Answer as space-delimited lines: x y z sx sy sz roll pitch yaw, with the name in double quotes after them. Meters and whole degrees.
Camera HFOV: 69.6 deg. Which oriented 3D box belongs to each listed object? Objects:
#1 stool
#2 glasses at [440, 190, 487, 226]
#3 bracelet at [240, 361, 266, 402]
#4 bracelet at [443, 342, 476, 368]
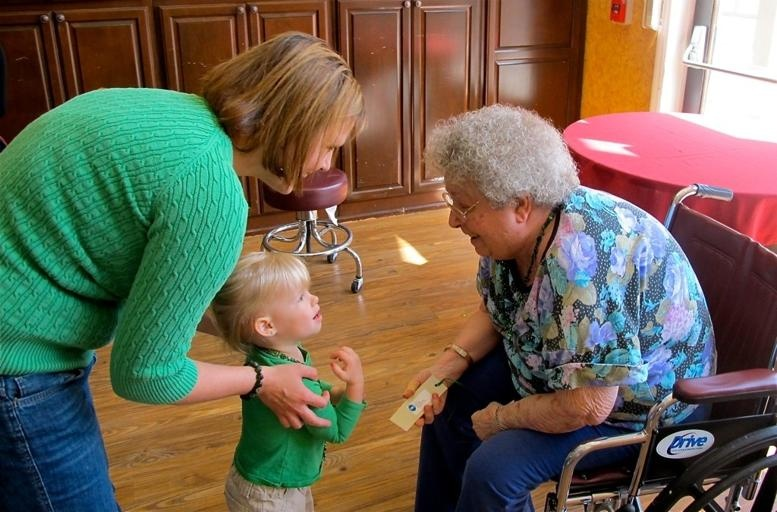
-0.542 -0.172 3.783 0.693 0.794 0.671 -24 35 -37 "stool"
0.229 -0.139 1.649 0.097 0.030 0.092 7 28 -40 "glasses"
-0.354 0.343 1.531 0.037 0.098 0.084 8 30 18 "bracelet"
0.249 0.336 1.963 0.031 0.081 0.072 -49 10 -9 "bracelet"
